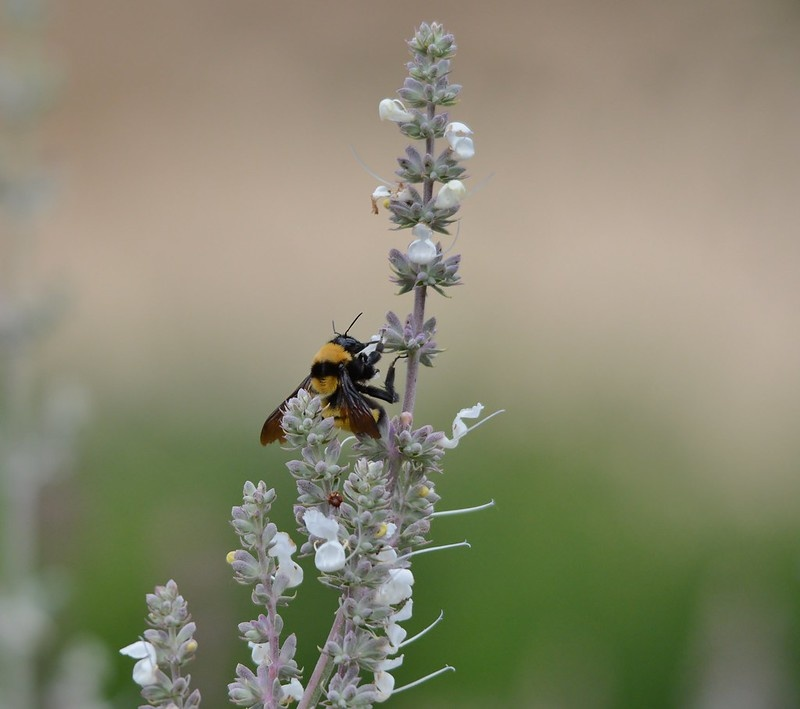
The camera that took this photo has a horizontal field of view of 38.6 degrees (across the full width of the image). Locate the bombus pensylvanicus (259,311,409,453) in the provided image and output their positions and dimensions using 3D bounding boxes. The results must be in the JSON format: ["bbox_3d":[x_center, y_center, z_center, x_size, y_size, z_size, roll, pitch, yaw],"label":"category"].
[{"bbox_3d":[-0.109,0.059,2.206,0.185,0.302,0.090,8,-22,28],"label":"bombus pensylvanicus"}]
